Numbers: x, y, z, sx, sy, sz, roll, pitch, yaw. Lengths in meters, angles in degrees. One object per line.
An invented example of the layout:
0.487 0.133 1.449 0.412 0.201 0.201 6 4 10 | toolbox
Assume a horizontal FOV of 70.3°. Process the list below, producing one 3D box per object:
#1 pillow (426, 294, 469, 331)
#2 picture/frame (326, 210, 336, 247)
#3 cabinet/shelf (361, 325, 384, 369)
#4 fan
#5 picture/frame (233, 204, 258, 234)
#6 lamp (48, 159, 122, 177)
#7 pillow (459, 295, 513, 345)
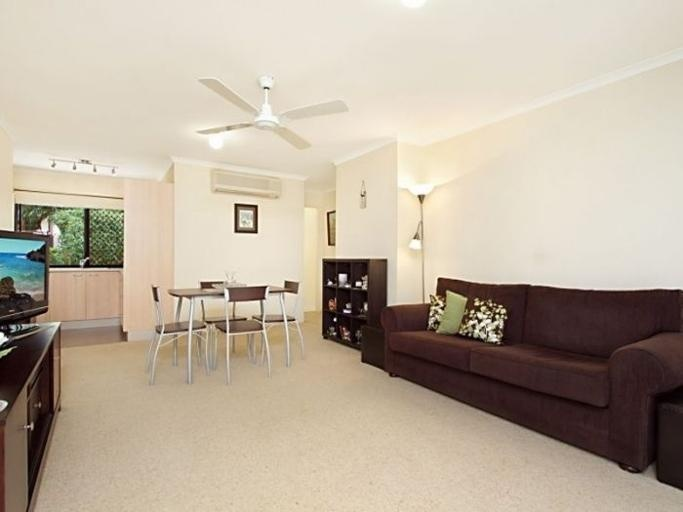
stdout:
1.084 0.590 5.002 0.111 0.388 0.383 17 -7 -25 | pillow
-0.209 -0.503 9.049 0.067 0.670 0.317 -4 11 -22 | picture/frame
0.347 1.046 5.460 0.219 0.443 0.436 2 -5 -22 | cabinet/shelf
-0.719 -1.349 4.531 1.152 0.630 1.382 -4 11 -23 | fan
-1.504 -0.564 7.443 0.429 0.549 0.043 1 1 -37 | picture/frame
-3.943 -1.347 7.414 0.941 0.257 0.901 -5 12 -28 | lamp
1.383 0.628 4.658 0.120 0.411 0.393 23 -10 -36 | pillow
